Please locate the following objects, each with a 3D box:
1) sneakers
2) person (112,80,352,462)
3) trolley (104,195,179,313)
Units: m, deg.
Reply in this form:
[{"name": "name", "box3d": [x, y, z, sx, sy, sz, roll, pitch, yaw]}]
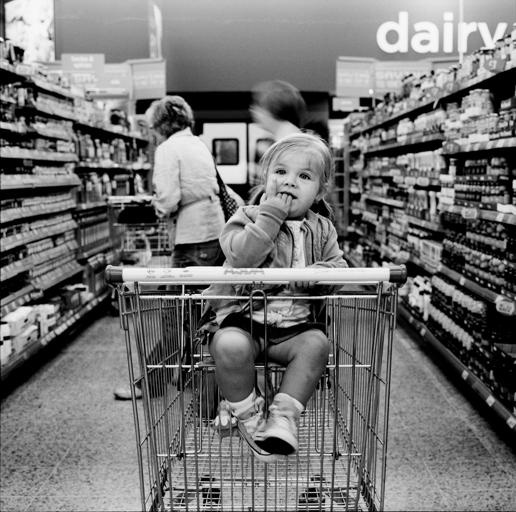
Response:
[{"name": "sneakers", "box3d": [0.027, 0.416, 1.237, 0.070, 0.147, 0.261, 0, -14, -4]}, {"name": "person", "box3d": [0.081, 0.069, 1.845, 0.452, 0.970, 1.246, 1, 7, 10]}, {"name": "trolley", "box3d": [-1.012, -0.043, 4.552, 0.517, 0.900, 0.618, -4, -5, 37]}]
